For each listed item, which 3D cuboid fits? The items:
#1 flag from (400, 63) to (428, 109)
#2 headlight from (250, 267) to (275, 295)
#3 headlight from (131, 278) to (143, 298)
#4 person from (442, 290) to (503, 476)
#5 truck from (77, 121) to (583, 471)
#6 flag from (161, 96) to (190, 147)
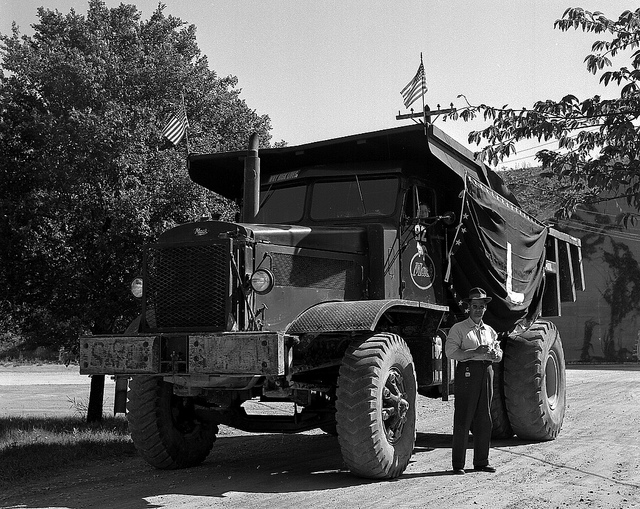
[{"bbox_3d":[1.644,-2.981,12.377,0.465,1.152,0.090,4,-35,14],"label":"flag"},{"bbox_3d":[-0.675,0.307,8.580,0.248,0.316,0.274,1,1,24],"label":"headlight"},{"bbox_3d":[-2.306,0.416,9.280,0.175,0.227,0.097,-2,-5,30],"label":"headlight"},{"bbox_3d":[1.985,1.619,9.430,0.705,2.335,0.390,2,-4,-14],"label":"person"},{"bbox_3d":[0.860,0.733,12.061,4.104,5.020,8.821,-5,-10,34],"label":"truck"},{"bbox_3d":[-2.631,-2.445,13.305,0.433,0.837,0.974,2,-5,-13],"label":"flag"}]
